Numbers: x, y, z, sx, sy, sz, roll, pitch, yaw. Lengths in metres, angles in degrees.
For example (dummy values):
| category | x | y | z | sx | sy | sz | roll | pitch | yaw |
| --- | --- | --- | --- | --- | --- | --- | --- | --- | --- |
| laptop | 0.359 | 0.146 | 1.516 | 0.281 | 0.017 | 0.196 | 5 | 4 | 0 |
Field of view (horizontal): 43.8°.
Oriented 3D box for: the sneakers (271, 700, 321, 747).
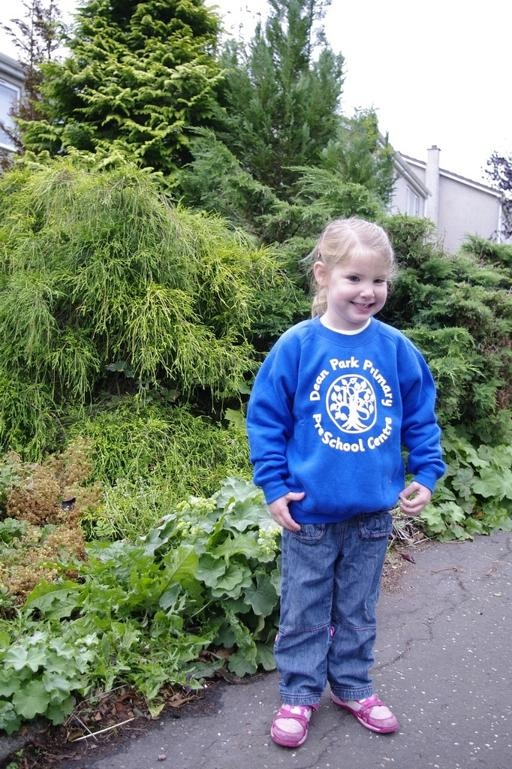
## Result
| category | x | y | z | sx | sy | sz | roll | pitch | yaw |
| --- | --- | --- | --- | --- | --- | --- | --- | --- | --- |
| sneakers | 0.111 | 1.066 | 2.004 | 0.117 | 0.101 | 0.096 | 1 | 5 | 0 |

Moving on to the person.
| category | x | y | z | sx | sy | sz | roll | pitch | yaw |
| --- | --- | --- | --- | --- | --- | --- | --- | --- | --- |
| person | 0.293 | 0.423 | 2.054 | 0.645 | 1.375 | 0.346 | 0 | 5 | -2 |

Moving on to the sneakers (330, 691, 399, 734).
| category | x | y | z | sx | sy | sz | roll | pitch | yaw |
| --- | --- | --- | --- | --- | --- | --- | --- | --- | --- |
| sneakers | 0.370 | 1.063 | 2.116 | 0.073 | 0.074 | 0.192 | -1 | 3 | -43 |
